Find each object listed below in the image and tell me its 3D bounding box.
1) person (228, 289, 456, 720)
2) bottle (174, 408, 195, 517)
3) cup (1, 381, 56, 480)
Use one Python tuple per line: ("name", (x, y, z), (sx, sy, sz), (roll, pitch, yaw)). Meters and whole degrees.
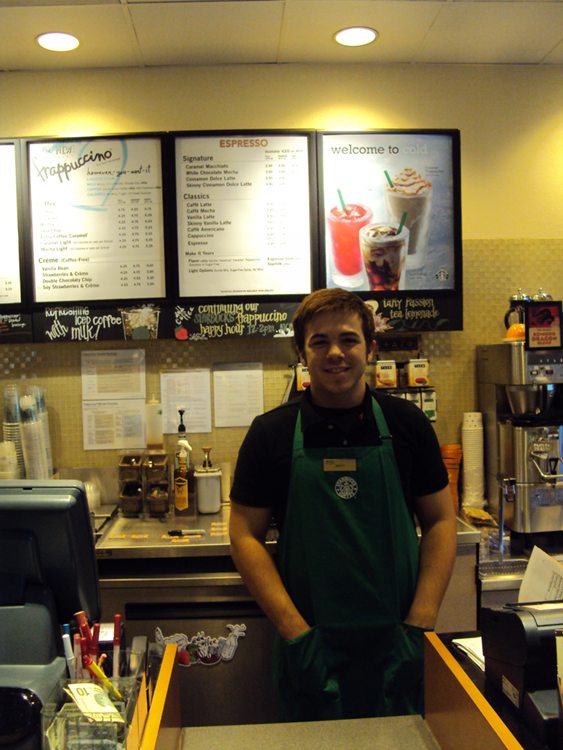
("person", (0.133, 0.306, 1.711), (0.535, 1.051, 0.493), (-1, 8, 30))
("bottle", (-0.429, 0.361, 2.808), (0.099, 0.398, 0.317), (-6, 7, -9))
("cup", (-1.089, 0.245, 2.800), (0.179, 0.410, 0.119), (-7, 7, -22))
